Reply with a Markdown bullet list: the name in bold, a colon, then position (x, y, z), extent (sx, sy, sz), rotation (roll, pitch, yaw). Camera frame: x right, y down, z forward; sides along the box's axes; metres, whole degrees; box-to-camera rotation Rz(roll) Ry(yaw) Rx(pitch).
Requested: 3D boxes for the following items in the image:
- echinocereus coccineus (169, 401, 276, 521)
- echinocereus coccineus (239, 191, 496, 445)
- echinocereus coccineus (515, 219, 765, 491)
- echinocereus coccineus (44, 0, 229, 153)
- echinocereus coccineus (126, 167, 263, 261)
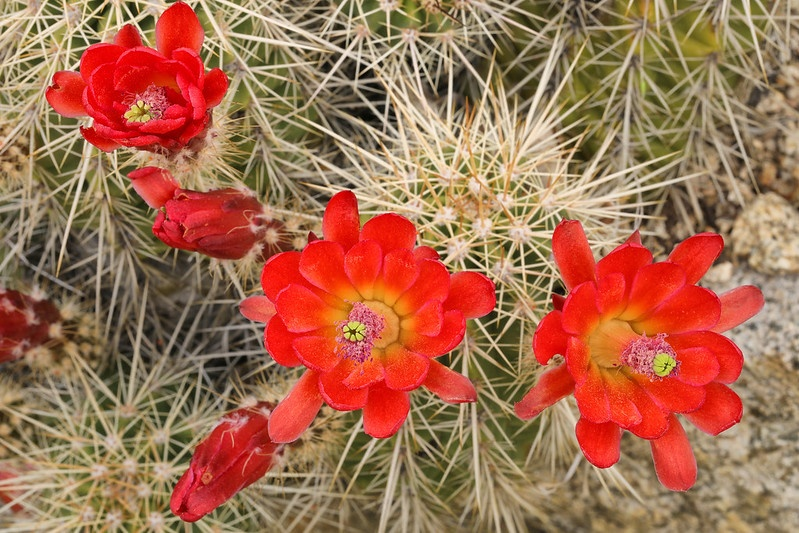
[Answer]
- **echinocereus coccineus**: position (-0.463, 0.530, 2.042), extent (0.181, 0.180, 0.369), rotation (46, 56, 1)
- **echinocereus coccineus**: position (-0.078, 0.112, 1.794), extent (0.620, 0.136, 0.595), rotation (-17, 85, -1)
- **echinocereus coccineus**: position (0.609, 0.258, 1.908), extent (0.295, 0.631, 0.576), rotation (-7, 65, -7)
- **echinocereus coccineus**: position (-0.630, -0.493, 2.019), extent (0.444, 0.254, 0.378), rotation (-12, 93, 11)
- **echinocereus coccineus**: position (-0.582, -0.158, 2.084), extent (0.177, 0.434, 0.212), rotation (-18, 80, 33)
